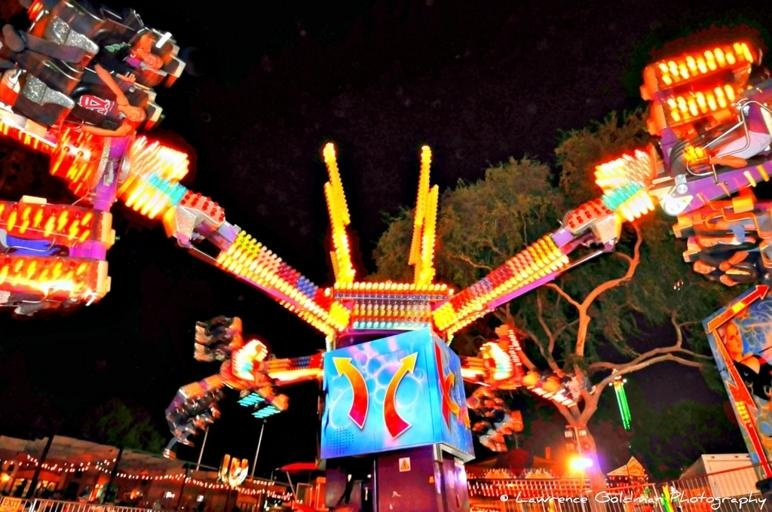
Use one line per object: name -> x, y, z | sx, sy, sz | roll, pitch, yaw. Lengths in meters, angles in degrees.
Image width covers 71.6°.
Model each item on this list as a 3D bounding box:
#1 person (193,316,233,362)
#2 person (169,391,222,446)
person -> -4.362, 2.104, 13.666 | 0.989, 0.973, 0.681 | 4, -34, -2
person -> -4.902, 4.077, 13.567 | 1.285, 1.227, 0.878 | 14, -36, -17
